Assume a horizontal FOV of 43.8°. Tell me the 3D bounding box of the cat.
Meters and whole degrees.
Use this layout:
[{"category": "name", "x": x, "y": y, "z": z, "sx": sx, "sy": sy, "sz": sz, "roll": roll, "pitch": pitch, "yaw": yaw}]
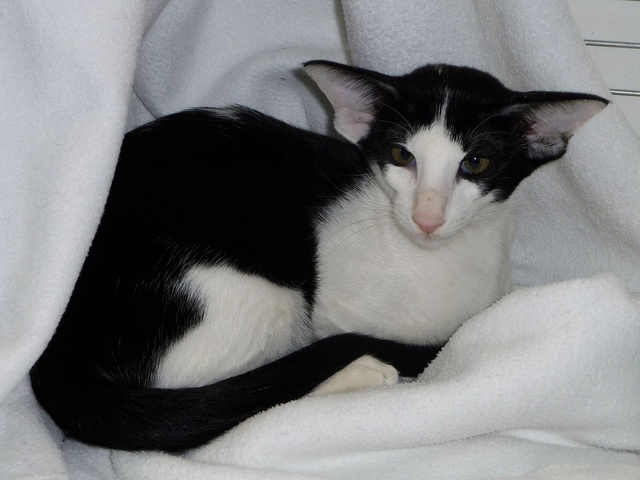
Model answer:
[{"category": "cat", "x": 0.039, "y": 0.169, "z": 1.701, "sx": 0.953, "sy": 0.584, "sz": 0.806, "roll": 9, "pitch": 35, "yaw": 14}]
